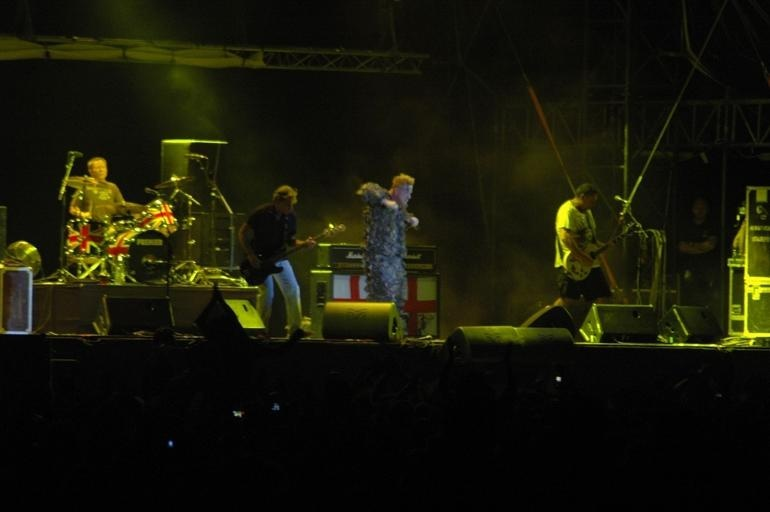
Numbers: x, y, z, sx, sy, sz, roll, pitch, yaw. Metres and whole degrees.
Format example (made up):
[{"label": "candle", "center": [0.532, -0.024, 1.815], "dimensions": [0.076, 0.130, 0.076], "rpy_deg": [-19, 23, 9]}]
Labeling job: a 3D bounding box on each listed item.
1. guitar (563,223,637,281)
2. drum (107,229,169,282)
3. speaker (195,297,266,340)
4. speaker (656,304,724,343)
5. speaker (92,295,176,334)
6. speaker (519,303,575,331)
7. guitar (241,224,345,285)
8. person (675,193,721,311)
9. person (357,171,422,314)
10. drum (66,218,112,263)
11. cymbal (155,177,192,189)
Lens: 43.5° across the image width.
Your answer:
[{"label": "guitar", "center": [2.473, -0.040, 11.098], "dimensions": [0.704, 0.250, 0.096], "rpy_deg": [-38, -5, -6]}, {"label": "drum", "center": [-2.811, 0.012, 11.002], "dimensions": [0.740, 0.724, 0.794], "rpy_deg": [5, -1, -16]}, {"label": "speaker", "center": [-1.499, 0.586, 9.500], "dimensions": [0.638, 0.387, 1.590], "rpy_deg": [2, -5, -8]}, {"label": "speaker", "center": [3.148, 0.648, 9.768], "dimensions": [0.540, 0.356, 0.471], "rpy_deg": [-2, 21, -23]}, {"label": "speaker", "center": [-2.450, 0.563, 9.531], "dimensions": [0.552, 0.341, 0.468], "rpy_deg": [1, -3, -8]}, {"label": "speaker", "center": [1.579, 0.589, 9.204], "dimensions": [0.465, 0.259, 0.131], "rpy_deg": [1, -5, 4]}, {"label": "guitar", "center": [-1.106, -0.054, 11.340], "dimensions": [1.201, 0.806, 0.633], "rpy_deg": [4, -5, -25]}, {"label": "person", "center": [4.080, -0.022, 12.571], "dimensions": [0.576, 1.423, 0.691], "rpy_deg": [1, -5, 11]}, {"label": "person", "center": [0.015, -0.133, 10.581], "dimensions": [0.651, 1.510, 0.345], "rpy_deg": [2, -5, -2]}, {"label": "drum", "center": [-3.685, -0.222, 11.912], "dimensions": [0.608, 0.566, 0.244], "rpy_deg": [1, -8, 1]}, {"label": "cymbal", "center": [-2.621, -0.912, 12.020], "dimensions": [0.253, 0.058, 0.249], "rpy_deg": [-11, -15, -9]}]
